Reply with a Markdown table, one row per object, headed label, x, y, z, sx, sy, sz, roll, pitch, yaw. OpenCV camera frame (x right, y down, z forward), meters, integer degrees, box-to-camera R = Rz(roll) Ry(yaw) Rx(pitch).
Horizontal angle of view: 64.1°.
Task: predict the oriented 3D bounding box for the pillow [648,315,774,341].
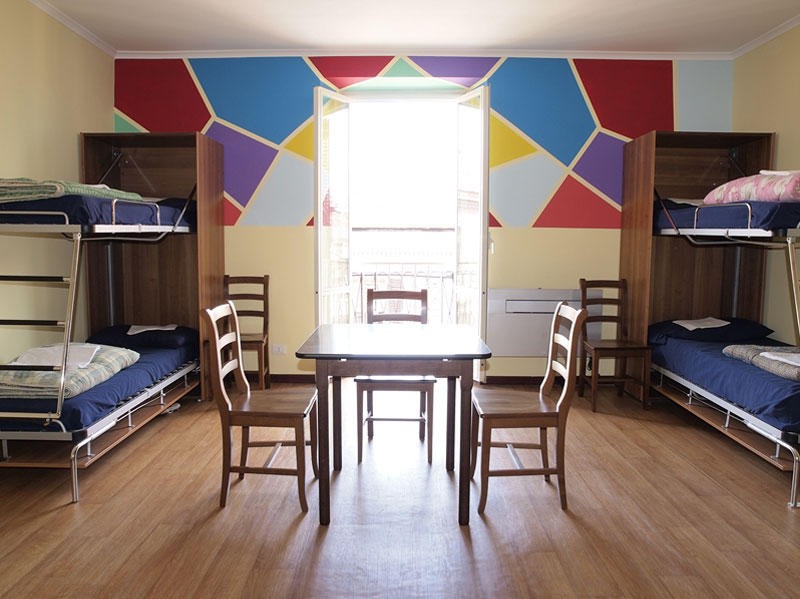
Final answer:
| label | x | y | z | sx | sy | sz | roll | pitch | yaw |
| --- | --- | --- | --- | --- | --- | --- | --- | --- | --- |
| pillow | 2.627 | 0.246 | 5.410 | 0.604 | 0.129 | 0.400 | 2 | 1 | 4 |

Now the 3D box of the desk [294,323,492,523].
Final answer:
| label | x | y | z | sx | sy | sz | roll | pitch | yaw |
| --- | --- | --- | --- | --- | --- | --- | --- | --- | --- |
| desk | -0.036 | 0.699 | 4.211 | 1.094 | 0.999 | 1.167 | 1 | 8 | 1 |
